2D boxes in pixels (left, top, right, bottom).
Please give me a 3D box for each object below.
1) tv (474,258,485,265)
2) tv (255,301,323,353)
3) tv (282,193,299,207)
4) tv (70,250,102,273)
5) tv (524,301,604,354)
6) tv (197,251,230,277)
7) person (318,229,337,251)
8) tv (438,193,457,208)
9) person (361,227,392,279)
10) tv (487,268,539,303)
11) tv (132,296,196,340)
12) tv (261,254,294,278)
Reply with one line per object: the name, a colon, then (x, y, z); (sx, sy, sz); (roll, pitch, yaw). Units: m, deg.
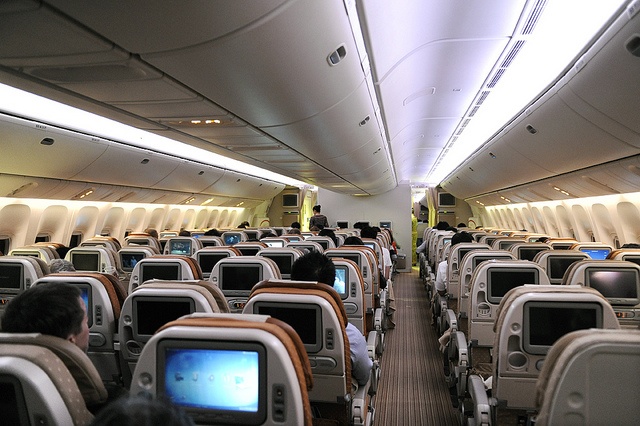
tv: (2.430, 0.734, 6.209); (0.150, 0.148, 0.037); (1, 5, 0)
tv: (-0.235, 0.802, 2.988); (0.489, 0.369, 0.068); (3, 9, 13)
tv: (-2.100, -0.922, 28.890); (0.913, 0.824, 0.128); (-1, -6, 15)
tv: (-4.262, 0.847, 7.411); (0.566, 0.433, 0.137); (-2, 10, 5)
tv: (2.132, 0.950, 3.609); (0.700, 0.538, 0.391); (0, -2, 10)
tv: (-1.647, 0.751, 6.262); (0.433, 0.397, 0.159); (1, 4, 3)
person: (0.203, 0.643, 10.111); (0.465, 0.792, 0.416); (-1, 4, 17)
tv: (8.407, -0.905, 26.951); (1.065, 0.829, 0.197); (0, -2, 1)
person: (1.533, 0.994, 10.735); (0.997, 1.514, 1.255); (0, -1, 17)
tv: (2.230, 0.791, 4.694); (0.398, 0.419, 0.098); (-4, 4, 7)
tv: (-1.288, 0.831, 3.369); (0.497, 0.366, 0.054); (0, 2, 8)
tv: (-0.631, 0.736, 5.885); (0.452, 0.409, 0.164); (1, 1, 6)
